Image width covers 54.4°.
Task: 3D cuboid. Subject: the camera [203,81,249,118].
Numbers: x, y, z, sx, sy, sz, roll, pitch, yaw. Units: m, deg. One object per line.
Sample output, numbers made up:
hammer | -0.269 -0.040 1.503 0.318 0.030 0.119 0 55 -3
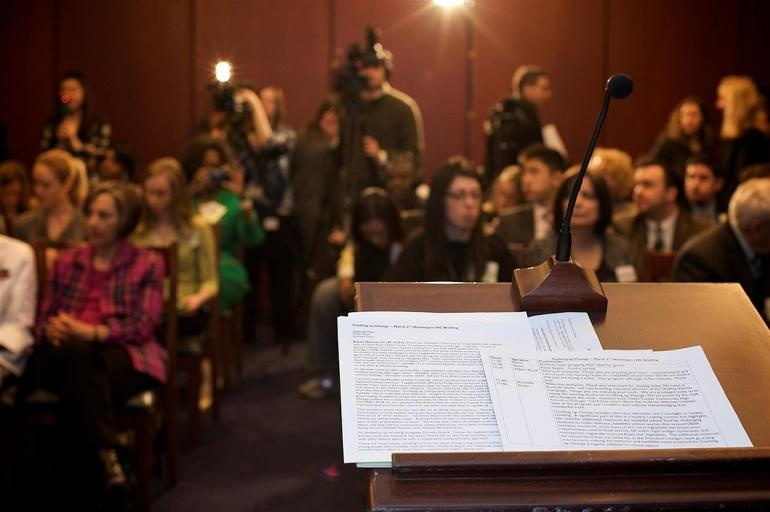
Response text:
camera | -0.648 -0.637 3.033 0.117 0.155 0.046 -37 9 -4

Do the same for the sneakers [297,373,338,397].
sneakers | -0.278 0.547 3.097 0.126 0.049 0.080 -12 17 -11

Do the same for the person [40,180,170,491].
person | -1.035 0.289 2.767 0.442 1.072 0.335 -9 14 -28
